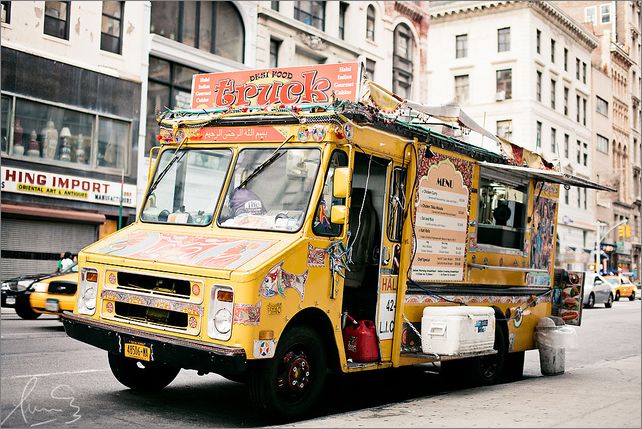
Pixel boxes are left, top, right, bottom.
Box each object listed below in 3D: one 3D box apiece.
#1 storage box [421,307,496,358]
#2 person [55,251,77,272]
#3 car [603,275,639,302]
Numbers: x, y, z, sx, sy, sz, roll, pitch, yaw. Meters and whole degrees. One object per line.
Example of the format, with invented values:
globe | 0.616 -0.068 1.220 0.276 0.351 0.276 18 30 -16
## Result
storage box | 2.283 2.034 12.437 0.819 0.730 1.412 -3 -6 39
person | -8.127 1.521 22.507 0.262 0.693 0.787 12 -16 -41
car | 19.207 4.751 45.343 1.350 1.077 3.051 -7 -13 37
